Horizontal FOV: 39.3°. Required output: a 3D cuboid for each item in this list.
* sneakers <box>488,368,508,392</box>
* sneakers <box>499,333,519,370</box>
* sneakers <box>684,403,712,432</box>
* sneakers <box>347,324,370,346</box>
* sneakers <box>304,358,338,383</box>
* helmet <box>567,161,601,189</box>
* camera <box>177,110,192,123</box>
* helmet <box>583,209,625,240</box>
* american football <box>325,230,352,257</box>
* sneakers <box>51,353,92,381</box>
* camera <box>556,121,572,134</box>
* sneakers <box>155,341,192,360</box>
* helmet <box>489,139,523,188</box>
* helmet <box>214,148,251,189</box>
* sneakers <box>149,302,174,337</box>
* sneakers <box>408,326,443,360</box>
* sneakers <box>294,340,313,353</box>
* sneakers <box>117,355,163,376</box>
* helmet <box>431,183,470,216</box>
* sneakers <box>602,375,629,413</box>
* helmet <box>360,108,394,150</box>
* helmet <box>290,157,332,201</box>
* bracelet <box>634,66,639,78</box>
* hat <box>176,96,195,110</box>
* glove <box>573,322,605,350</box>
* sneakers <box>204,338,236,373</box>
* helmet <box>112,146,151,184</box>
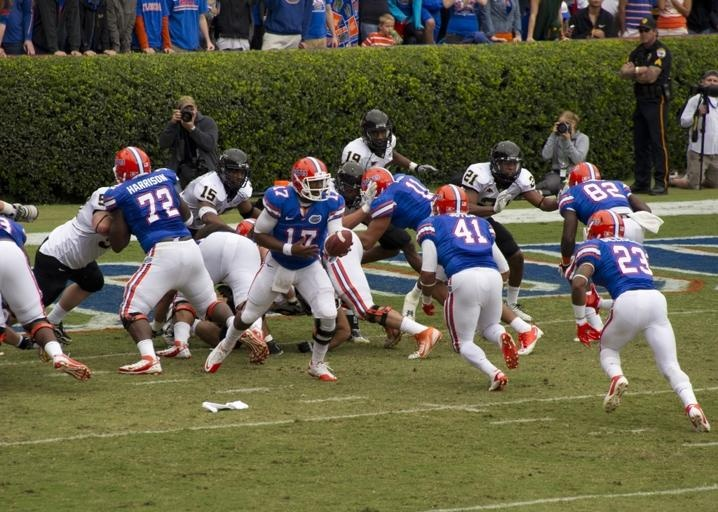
[{"bbox_3d":[1.204,1.082,8.721,0.103,0.118,0.234,6,-35,-7],"label":"sneakers"},{"bbox_3d":[1.327,0.827,8.802,0.131,0.345,0.162,-18,0,-9],"label":"sneakers"},{"bbox_3d":[2.615,1.262,7.797,0.081,0.218,0.108,-35,-5,5],"label":"sneakers"},{"bbox_3d":[0.017,0.784,10.449,0.211,0.189,0.286,0,13,-2],"label":"sneakers"},{"bbox_3d":[-0.327,1.021,9.071,0.335,0.144,0.119,19,17,27],"label":"sneakers"},{"bbox_3d":[2.476,-0.862,10.969,0.289,0.359,0.368,2,24,-6],"label":"helmet"},{"bbox_3d":[-2.246,-1.839,13.181,0.205,0.157,0.073,6,14,26],"label":"camera"},{"bbox_3d":[2.133,-0.267,8.809,0.233,0.249,0.302,-10,20,-39],"label":"helmet"},{"bbox_3d":[-0.165,-0.113,8.788,0.259,0.182,0.156,-41,3,-8],"label":"american football"},{"bbox_3d":[-2.491,0.976,8.762,0.319,0.116,0.146,34,5,-6],"label":"sneakers"},{"bbox_3d":[3.149,-1.978,15.418,0.199,0.187,0.199,3,15,5],"label":"camera"},{"bbox_3d":[-1.742,0.906,9.720,0.393,0.172,0.138,4,7,8],"label":"sneakers"},{"bbox_3d":[1.589,-0.972,10.909,0.323,0.536,0.418,2,13,7],"label":"helmet"},{"bbox_3d":[-1.233,-0.867,10.194,0.312,0.439,0.282,-5,14,-22],"label":"helmet"},{"bbox_3d":[-1.947,0.632,10.058,0.134,0.391,0.168,27,-3,24],"label":"sneakers"},{"bbox_3d":[0.658,0.810,9.743,0.213,0.477,0.165,20,32,-15],"label":"sneakers"},{"bbox_3d":[-0.536,0.900,9.978,0.148,0.072,0.173,1,0,-5],"label":"sneakers"},{"bbox_3d":[-1.903,0.966,8.986,0.434,0.201,0.155,2,7,-1],"label":"sneakers"},{"bbox_3d":[0.862,-0.526,9.340,0.241,0.252,0.311,0,24,-13],"label":"helmet"},{"bbox_3d":[2.029,1.102,7.979,0.160,0.310,0.172,2,13,9],"label":"sneakers"},{"bbox_3d":[0.182,-1.542,11.930,0.352,0.390,0.465,-10,39,-19],"label":"helmet"},{"bbox_3d":[-0.362,-0.709,8.820,0.301,0.320,0.400,-16,36,-38],"label":"helmet"},{"bbox_3d":[4.683,-3.125,16.942,0.049,0.129,0.108,5,-3,-36],"label":"bracelet"},{"bbox_3d":[-2.237,-2.027,13.266,0.247,0.149,0.206,-10,16,-37],"label":"hat"},{"bbox_3d":[2.226,0.737,9.536,0.167,0.207,0.475,-24,-17,34],"label":"glove"},{"bbox_3d":[-1.275,0.932,9.376,0.338,0.114,0.135,-49,28,-17],"label":"sneakers"},{"bbox_3d":[-2.126,-0.874,9.551,0.294,0.359,0.378,-15,20,-42],"label":"helmet"}]
